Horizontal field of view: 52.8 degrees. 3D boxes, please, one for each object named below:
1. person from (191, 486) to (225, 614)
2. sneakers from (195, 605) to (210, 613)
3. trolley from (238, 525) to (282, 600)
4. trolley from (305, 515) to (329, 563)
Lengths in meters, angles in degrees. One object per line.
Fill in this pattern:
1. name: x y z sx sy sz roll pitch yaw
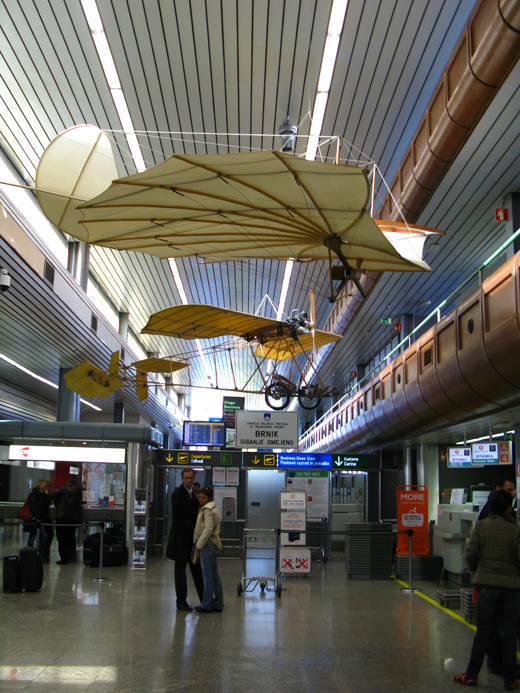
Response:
1. person: -0.636 2.572 6.595 0.400 1.575 0.627 3 -8 -2
2. sneakers: -0.707 3.296 6.583 0.202 0.092 0.076 1 0 4
3. trolley: 0.032 3.960 9.817 0.814 1.209 0.993 1 -12 1
4. trolley: 1.698 5.520 15.175 0.826 1.226 0.833 7 -19 -14
